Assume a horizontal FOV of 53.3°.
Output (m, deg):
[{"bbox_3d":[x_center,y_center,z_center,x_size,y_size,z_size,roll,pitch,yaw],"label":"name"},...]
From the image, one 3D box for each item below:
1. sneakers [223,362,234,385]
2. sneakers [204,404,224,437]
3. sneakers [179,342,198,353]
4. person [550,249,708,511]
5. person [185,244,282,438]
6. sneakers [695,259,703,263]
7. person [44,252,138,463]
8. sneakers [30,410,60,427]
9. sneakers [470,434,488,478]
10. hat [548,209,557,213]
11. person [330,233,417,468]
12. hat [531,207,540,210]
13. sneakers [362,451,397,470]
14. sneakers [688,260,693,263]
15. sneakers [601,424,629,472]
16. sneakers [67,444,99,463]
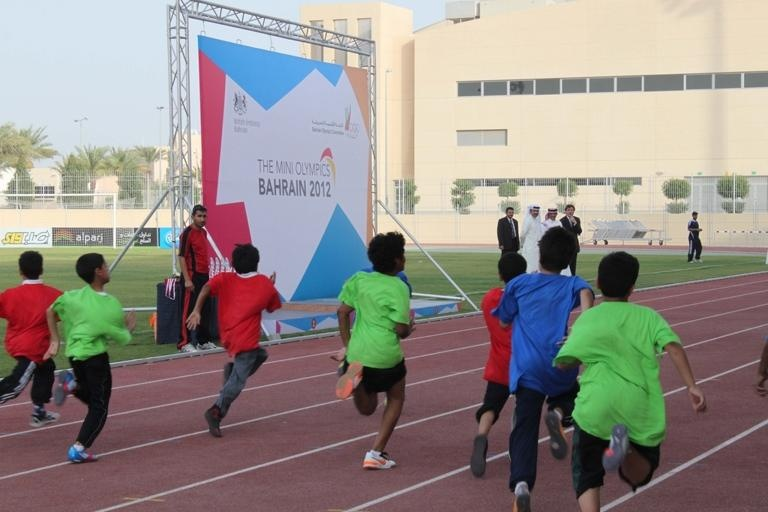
[{"bbox_3d":[-1.713,1.292,8.427,0.108,0.226,0.073,7,-1,2],"label":"sneakers"},{"bbox_3d":[-1.847,1.769,8.333,0.181,0.368,0.290,-1,4,-14],"label":"sneakers"},{"bbox_3d":[-3.189,1.500,12.494,0.326,0.152,0.119,-7,-3,38],"label":"sneakers"},{"bbox_3d":[1.765,0.952,5.681,0.957,1.939,0.566,1,4,12],"label":"person"},{"bbox_3d":[-1.633,0.902,8.504,0.968,2.056,0.650,-1,4,-12],"label":"person"},{"bbox_3d":[13.114,0.191,31.819,0.287,0.202,0.096,-4,6,-26],"label":"sneakers"},{"bbox_3d":[-3.032,0.987,7.890,0.829,2.049,0.965,-2,4,-25],"label":"person"},{"bbox_3d":[-3.835,1.805,8.670,0.355,0.175,0.153,-6,10,-28],"label":"sneakers"},{"bbox_3d":[0.875,1.805,6.966,0.163,0.392,0.156,-1,-10,27],"label":"sneakers"},{"bbox_3d":[4.060,-1.105,18.384,0.203,0.089,0.278,0,5,4],"label":"hat"},{"bbox_3d":[-0.072,0.912,7.377,0.706,2.259,0.384,0,4,-2],"label":"person"},{"bbox_3d":[3.728,-1.190,18.714,0.188,0.079,0.231,-1,5,-7],"label":"hat"},{"bbox_3d":[-0.049,1.961,7.406,0.385,0.188,0.136,6,1,-25],"label":"sneakers"},{"bbox_3d":[12.656,0.211,31.355,0.142,0.132,0.304,5,7,29],"label":"sneakers"},{"bbox_3d":[1.682,1.379,5.555,0.180,0.317,0.190,12,4,23],"label":"sneakers"},{"bbox_3d":[-2.991,1.960,7.599,0.135,0.143,0.304,6,4,36],"label":"sneakers"}]
